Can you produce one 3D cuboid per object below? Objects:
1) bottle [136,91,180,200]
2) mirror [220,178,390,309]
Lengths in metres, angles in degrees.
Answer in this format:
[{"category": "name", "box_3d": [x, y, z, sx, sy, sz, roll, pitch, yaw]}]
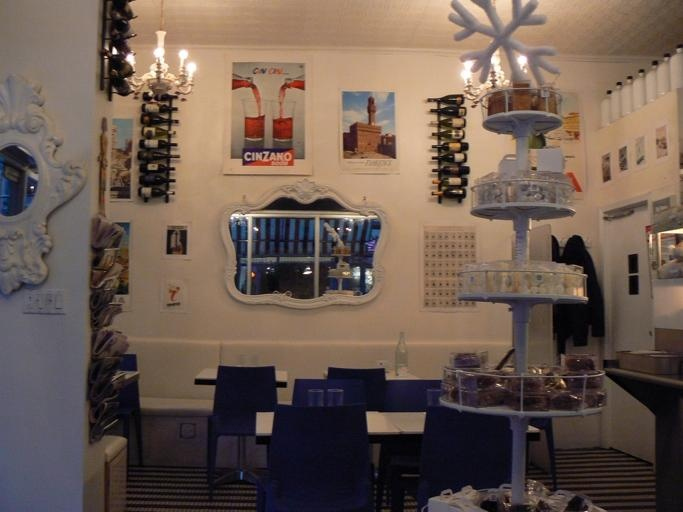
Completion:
[{"category": "bottle", "box_3d": [-1.789, -1.076, 7.803, 0.401, 1.084, 0.231, 2, -3, -14]}, {"category": "mirror", "box_3d": [-0.419, -0.079, 7.826, 1.393, 1.044, 0.051, 0, -7, -3]}]
